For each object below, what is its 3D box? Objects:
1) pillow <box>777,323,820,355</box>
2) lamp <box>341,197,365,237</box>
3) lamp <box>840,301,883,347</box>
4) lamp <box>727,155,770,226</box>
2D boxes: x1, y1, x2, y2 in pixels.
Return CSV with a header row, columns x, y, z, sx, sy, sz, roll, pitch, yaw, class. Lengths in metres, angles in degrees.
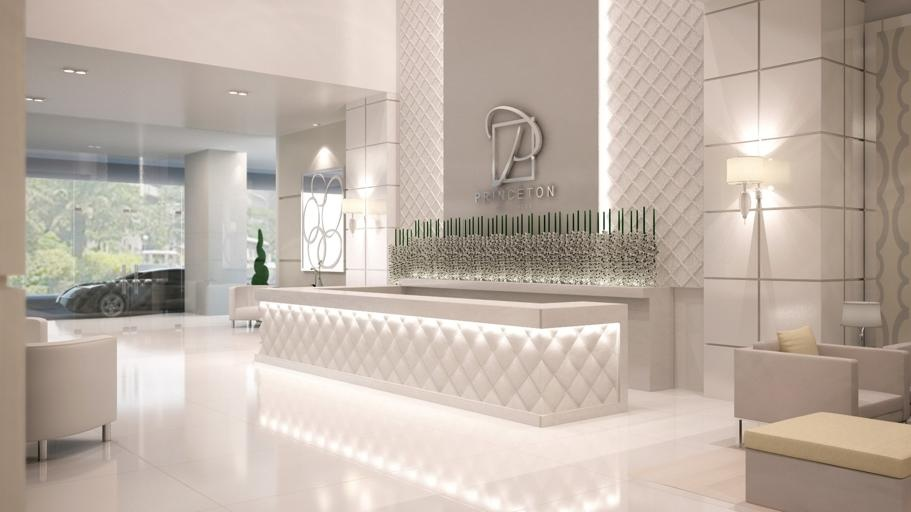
x,y,z,sx,sy,sz,roll,pitch,yaw,class
3.936,0.962,6.765,0.290,0.236,0.130,-10,3,-12,pillow
-2.169,-0.843,12.609,0.466,0.703,0.915,0,-1,-12,lamp
5.009,0.848,7.311,0.376,0.563,0.514,-1,-1,33,lamp
3.793,-0.885,7.666,0.492,0.779,0.362,-1,-1,27,lamp
